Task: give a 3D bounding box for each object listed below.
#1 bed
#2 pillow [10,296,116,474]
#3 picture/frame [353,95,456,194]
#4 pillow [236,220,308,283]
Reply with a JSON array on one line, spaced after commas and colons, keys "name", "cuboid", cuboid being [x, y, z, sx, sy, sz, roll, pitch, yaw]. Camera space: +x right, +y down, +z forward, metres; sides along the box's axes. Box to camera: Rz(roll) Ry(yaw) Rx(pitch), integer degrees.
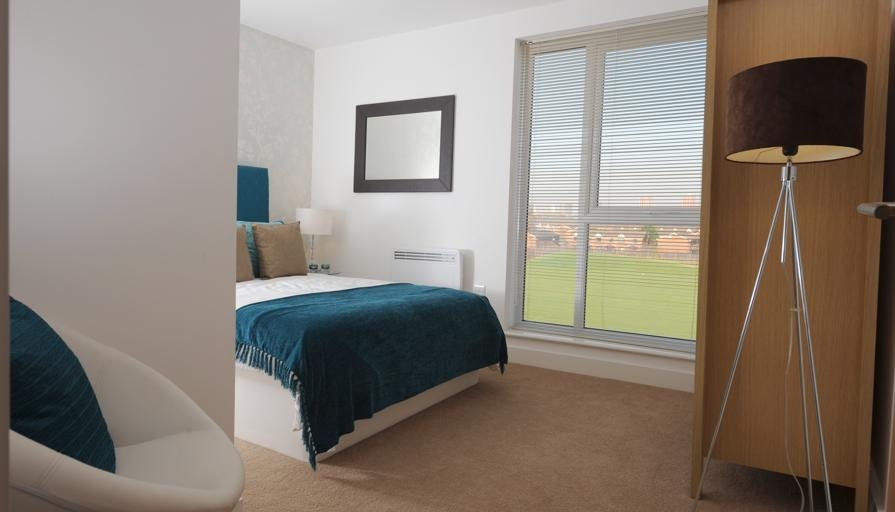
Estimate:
[{"name": "bed", "cuboid": [-1.232, 0.174, 4.707, 2.842, 1.621, 1.956, 11, 16, 39]}, {"name": "pillow", "cuboid": [-1.548, 0.547, 2.326, 0.310, 0.667, 0.394, -7, 16, -31]}, {"name": "picture/frame", "cuboid": [-0.394, -1.128, 5.812, 1.155, 0.866, 0.082, 3, 3, 26]}, {"name": "pillow", "cuboid": [-1.521, -0.027, 4.995, 0.213, 0.362, 0.579, 3, 5, 38]}]
